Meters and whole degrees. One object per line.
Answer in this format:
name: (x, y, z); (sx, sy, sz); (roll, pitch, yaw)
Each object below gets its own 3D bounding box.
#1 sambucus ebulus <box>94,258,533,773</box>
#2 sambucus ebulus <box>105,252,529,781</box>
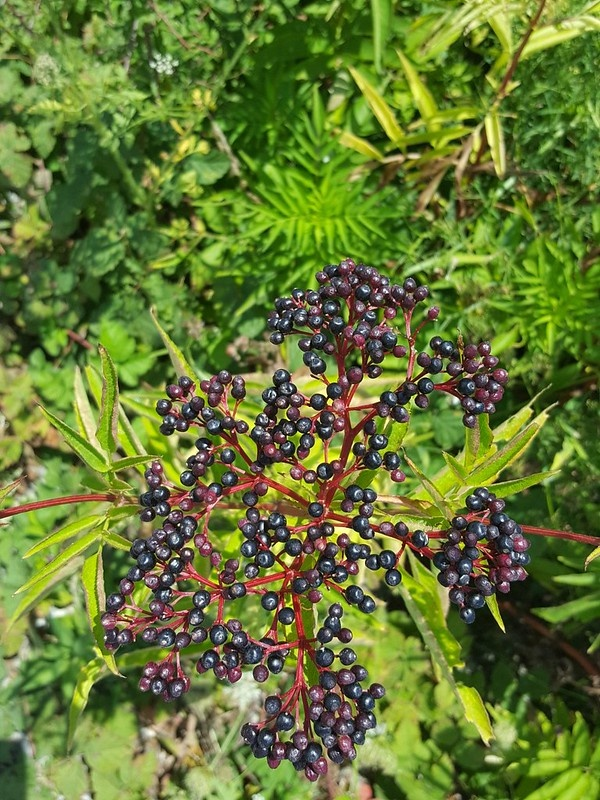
sambucus ebulus: (0.133, 0.317, 2.864); (1.421, 0.540, 1.752); (35, 77, 8)
sambucus ebulus: (0.082, 0.308, 2.841); (1.400, 0.543, 1.758); (32, 74, 6)
